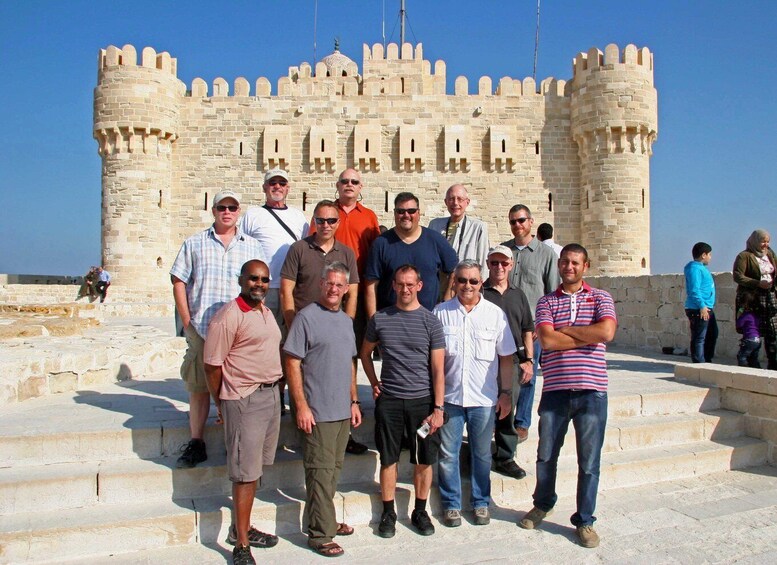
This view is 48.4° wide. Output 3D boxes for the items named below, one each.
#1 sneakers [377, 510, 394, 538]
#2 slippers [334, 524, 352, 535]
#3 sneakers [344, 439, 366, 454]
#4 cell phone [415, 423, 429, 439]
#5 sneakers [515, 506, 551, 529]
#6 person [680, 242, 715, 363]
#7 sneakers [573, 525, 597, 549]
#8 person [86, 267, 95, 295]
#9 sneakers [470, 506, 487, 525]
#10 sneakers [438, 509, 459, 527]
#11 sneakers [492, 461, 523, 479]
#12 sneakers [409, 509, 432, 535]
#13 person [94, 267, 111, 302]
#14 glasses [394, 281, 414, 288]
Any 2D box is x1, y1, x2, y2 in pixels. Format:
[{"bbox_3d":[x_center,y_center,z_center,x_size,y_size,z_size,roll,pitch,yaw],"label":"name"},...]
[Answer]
[{"bbox_3d":[-0.022,2.647,9.564,0.216,0.279,0.156,0,0,-13],"label":"sneakers"},{"bbox_3d":[-0.504,2.700,9.516,0.166,0.101,0.288,1,-6,-4],"label":"slippers"},{"bbox_3d":[-0.378,1.918,10.130,0.303,0.124,0.108,-8,-6,42],"label":"sneakers"},{"bbox_3d":[0.375,1.640,9.568,0.144,0.088,0.086,-40,-17,-32],"label":"cell phone"},{"bbox_3d":[1.649,2.613,9.727,0.430,0.162,0.167,-3,4,-31],"label":"sneakers"},{"bbox_3d":[4.651,0.328,13.047,0.433,1.602,1.141,0,0,19],"label":"person"},{"bbox_3d":[2.143,2.750,9.469,0.146,0.123,0.297,-4,0,-8],"label":"sneakers"},{"bbox_3d":[-8.358,-0.005,24.439,0.212,0.848,0.881,4,35,-20],"label":"person"},{"bbox_3d":[1.016,2.595,9.715,0.188,0.191,0.105,0,0,8],"label":"sneakers"},{"bbox_3d":[0.674,2.610,9.738,0.265,0.176,0.213,0,1,16],"label":"sneakers"},{"bbox_3d":[1.400,2.185,10.137,0.384,0.156,0.160,3,8,24],"label":"sneakers"},{"bbox_3d":[0.361,2.637,9.609,0.266,0.266,0.172,0,0,4],"label":"sneakers"},{"bbox_3d":[-8.365,0.078,25.441,0.431,1.032,0.929,0,1,-19],"label":"person"},{"bbox_3d":[0.182,0.026,9.626,0.203,0.057,0.042,0,0,4],"label":"glasses"}]
